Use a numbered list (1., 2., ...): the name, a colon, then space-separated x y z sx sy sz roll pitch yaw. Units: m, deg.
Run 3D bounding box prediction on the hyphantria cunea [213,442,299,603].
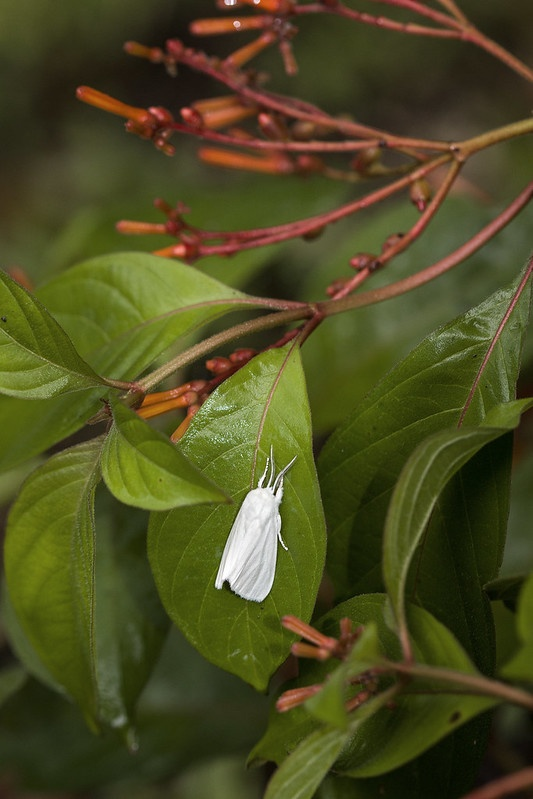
1. hyphantria cunea: -0.010 0.174 1.099 0.107 0.190 0.050 13 -4 11
